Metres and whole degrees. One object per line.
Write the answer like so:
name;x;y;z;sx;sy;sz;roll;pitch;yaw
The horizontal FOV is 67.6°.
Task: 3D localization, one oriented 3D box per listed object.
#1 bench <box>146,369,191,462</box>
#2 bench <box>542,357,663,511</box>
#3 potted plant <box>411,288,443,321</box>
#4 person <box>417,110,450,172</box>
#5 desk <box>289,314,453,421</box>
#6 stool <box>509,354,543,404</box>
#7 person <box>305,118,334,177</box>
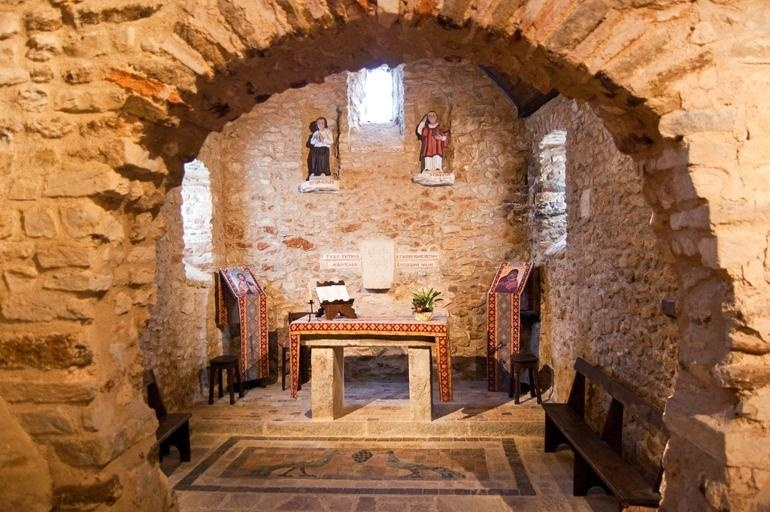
bench;-1.914;1.410;5.071;0.343;0.773;0.847;0;0;-5
bench;1.716;1.421;4.496;0.354;0.594;1.175;1;1;-2
potted plant;0.380;0.522;5.858;0.294;0.334;0.317;10;-17;-14
person;0.599;-1.464;7.350;0.373;0.751;0.150;0;9;3
desk;-0.135;1.149;6.026;1.572;1.014;0.951;1;-1;3
stool;1.497;1.319;6.203;0.382;0.454;0.409;-3;-2;-25
person;-0.842;-1.395;7.388;0.305;0.752;0.193;-2;9;-8
